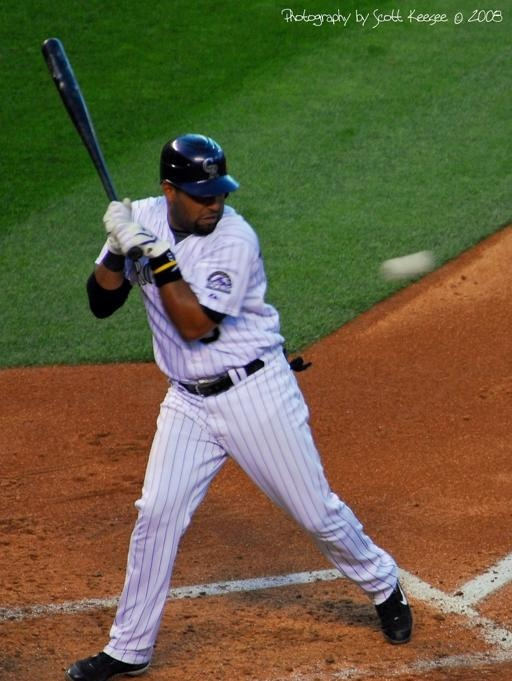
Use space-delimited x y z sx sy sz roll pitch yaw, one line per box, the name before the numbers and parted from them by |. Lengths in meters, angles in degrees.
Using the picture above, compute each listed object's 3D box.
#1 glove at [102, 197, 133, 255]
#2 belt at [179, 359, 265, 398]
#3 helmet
glove | -0.489 -0.399 2.868 0.066 0.114 0.191 -1 53 -9
belt | -0.124 0.135 2.881 0.313 0.114 0.084 -4 35 1
helmet | -0.214 -0.597 2.854 0.238 0.183 0.275 -11 33 -9
